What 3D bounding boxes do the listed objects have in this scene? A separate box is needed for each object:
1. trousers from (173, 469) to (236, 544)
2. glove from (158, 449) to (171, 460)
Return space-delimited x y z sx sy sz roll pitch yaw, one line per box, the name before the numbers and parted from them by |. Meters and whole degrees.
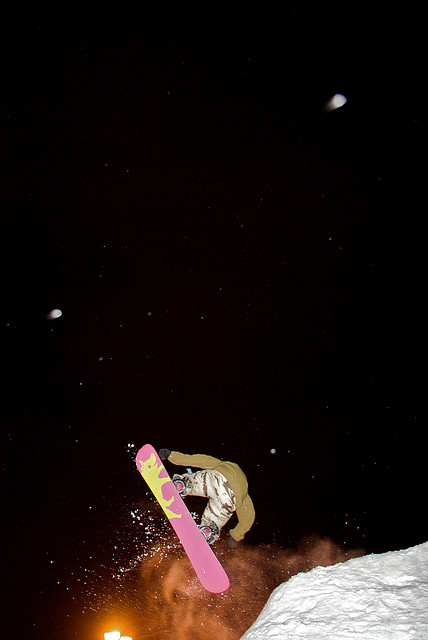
trousers | -0.045 1.168 4.197 0.292 0.289 0.369 -30 46 -14
glove | -0.328 0.882 4.152 0.058 0.068 0.014 -1 18 -11
